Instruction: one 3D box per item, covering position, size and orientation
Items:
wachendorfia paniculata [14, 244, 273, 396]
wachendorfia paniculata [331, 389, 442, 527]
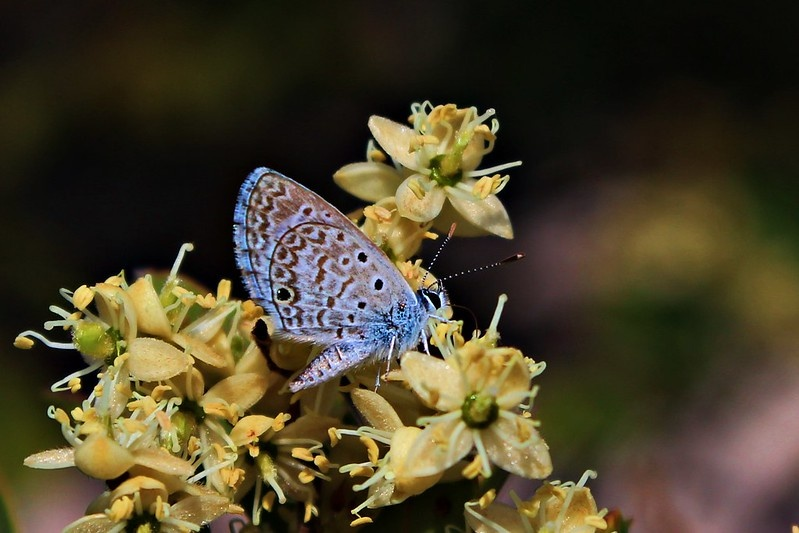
[{"bbox_3d":[-1.158,0.278,3.773,0.843,0.364,0.799,5,29,-17],"label":"wachendorfia paniculata"},{"bbox_3d":[-0.068,0.817,3.689,0.212,0.528,0.525,43,3,-38],"label":"wachendorfia paniculata"}]
